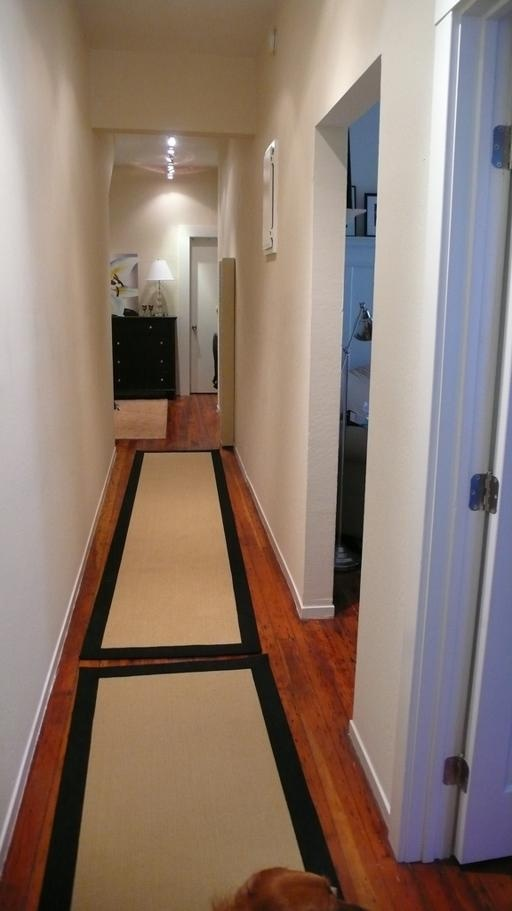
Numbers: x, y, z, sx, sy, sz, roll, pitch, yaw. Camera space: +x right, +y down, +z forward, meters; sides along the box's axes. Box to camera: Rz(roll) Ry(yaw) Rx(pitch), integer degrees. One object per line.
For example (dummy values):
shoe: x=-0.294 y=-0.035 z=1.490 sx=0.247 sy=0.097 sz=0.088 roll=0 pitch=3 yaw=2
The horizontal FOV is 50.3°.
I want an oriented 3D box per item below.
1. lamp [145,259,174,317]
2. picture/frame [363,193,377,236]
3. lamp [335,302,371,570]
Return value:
lamp: x=-1.572 y=-2.748 z=8.920 sx=0.455 sy=0.845 sz=0.623 roll=0 pitch=4 yaw=-15
picture/frame: x=0.858 y=-1.832 z=4.134 sx=0.079 sy=0.384 sz=0.225 roll=1 pitch=4 yaw=7
lamp: x=0.617 y=-0.136 z=3.517 sx=0.292 sy=1.870 sz=0.276 roll=-2 pitch=-18 yaw=16
